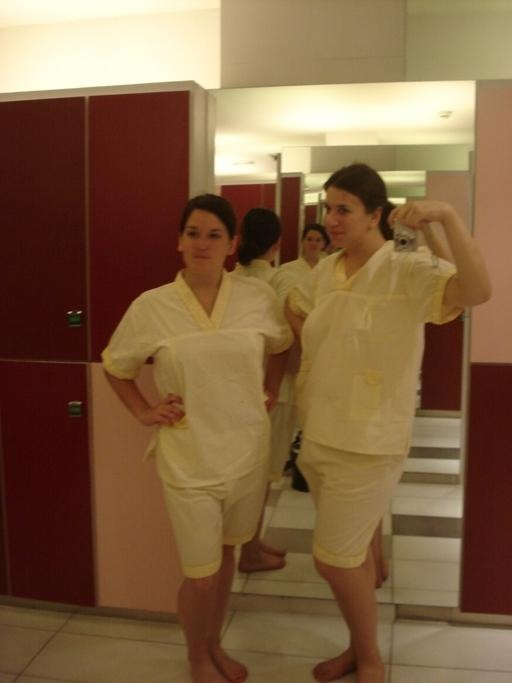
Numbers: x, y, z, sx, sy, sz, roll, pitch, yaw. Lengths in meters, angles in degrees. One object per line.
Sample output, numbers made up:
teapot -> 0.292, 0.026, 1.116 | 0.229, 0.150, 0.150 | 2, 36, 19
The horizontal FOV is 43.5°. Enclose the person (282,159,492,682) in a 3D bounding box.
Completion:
person -> 0.294, 0.262, 1.687 | 0.368, 1.433, 0.567 | 0, 8, -5

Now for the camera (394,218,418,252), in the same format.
camera -> 0.344, -0.247, 1.479 | 0.065, 0.060, 0.048 | -10, -19, -44
